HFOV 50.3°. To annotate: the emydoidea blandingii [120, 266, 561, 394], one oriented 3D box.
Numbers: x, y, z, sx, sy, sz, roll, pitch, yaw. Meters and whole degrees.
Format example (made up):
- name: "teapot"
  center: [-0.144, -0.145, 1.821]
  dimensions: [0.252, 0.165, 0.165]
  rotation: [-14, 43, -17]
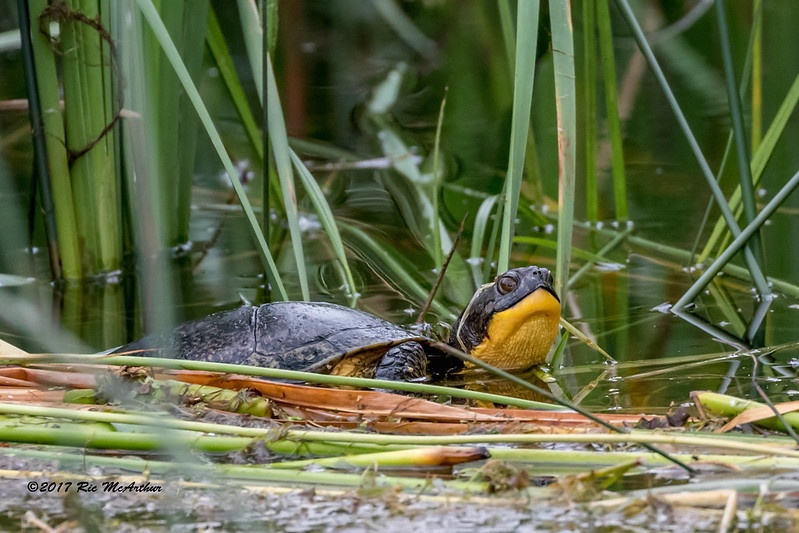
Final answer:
- name: "emydoidea blandingii"
  center: [-0.097, 0.239, 2.837]
  dimensions: [1.012, 0.250, 0.602]
  rotation: [-1, -6, 15]
